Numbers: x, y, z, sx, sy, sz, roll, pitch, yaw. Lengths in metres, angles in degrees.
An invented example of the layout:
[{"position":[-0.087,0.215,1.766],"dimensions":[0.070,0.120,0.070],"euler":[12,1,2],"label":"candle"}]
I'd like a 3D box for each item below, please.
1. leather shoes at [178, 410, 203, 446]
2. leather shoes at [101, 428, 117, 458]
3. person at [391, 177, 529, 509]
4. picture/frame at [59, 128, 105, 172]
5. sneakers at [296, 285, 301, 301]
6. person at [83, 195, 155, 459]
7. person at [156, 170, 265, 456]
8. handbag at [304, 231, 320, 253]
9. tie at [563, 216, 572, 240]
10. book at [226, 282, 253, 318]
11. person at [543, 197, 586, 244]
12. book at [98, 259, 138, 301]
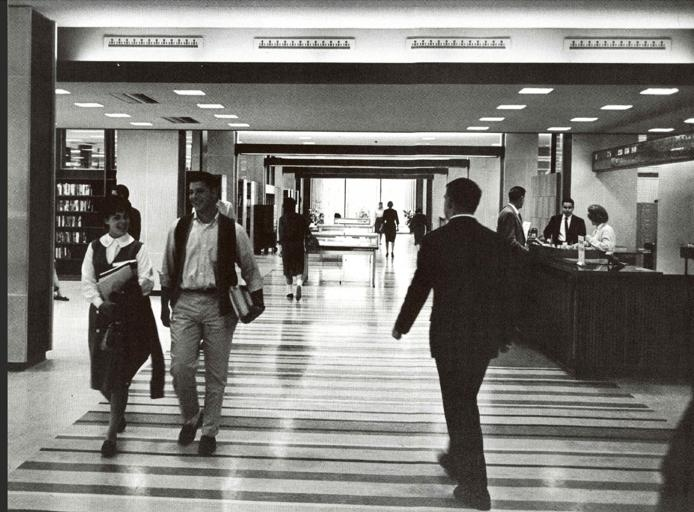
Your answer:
[{"position":[-1.232,1.371,5.443],"dimensions":[0.100,0.129,0.330],"euler":[-1,50,31],"label":"leather shoes"},{"position":[-1.819,1.438,5.138],"dimensions":[0.076,0.064,0.231],"euler":[3,34,-11],"label":"leather shoes"},{"position":[0.755,0.593,4.592],"dimensions":[0.741,2.228,0.234],"euler":[2,4,14],"label":"person"},{"position":[-6.277,-2.548,15.962],"dimensions":[1.164,0.896,0.315],"euler":[2,4,9],"label":"picture/frame"},{"position":[-0.903,0.694,12.542],"dimensions":[0.083,0.260,0.096],"euler":[1,-5,0],"label":"sneakers"},{"position":[-1.809,0.504,5.367],"dimensions":[0.540,1.972,0.550],"euler":[-2,5,-40],"label":"person"},{"position":[-1.070,0.578,5.295],"dimensions":[0.783,1.879,0.387],"euler":[0,4,-12],"label":"person"},{"position":[-0.755,-0.317,15.117],"dimensions":[0.311,0.449,0.121],"euler":[2,5,-28],"label":"handbag"},{"position":[3.513,-0.455,10.719],"dimensions":[0.142,0.343,0.094],"euler":[-2,4,-33],"label":"tie"},{"position":[-0.824,0.343,5.201],"dimensions":[0.058,0.234,0.241],"euler":[-10,20,25],"label":"book"},{"position":[3.443,-0.566,10.669],"dimensions":[0.636,0.676,1.462],"euler":[2,5,17],"label":"person"},{"position":[-1.786,0.188,5.230],"dimensions":[0.304,0.302,0.172],"euler":[-1,4,-22],"label":"book"}]
